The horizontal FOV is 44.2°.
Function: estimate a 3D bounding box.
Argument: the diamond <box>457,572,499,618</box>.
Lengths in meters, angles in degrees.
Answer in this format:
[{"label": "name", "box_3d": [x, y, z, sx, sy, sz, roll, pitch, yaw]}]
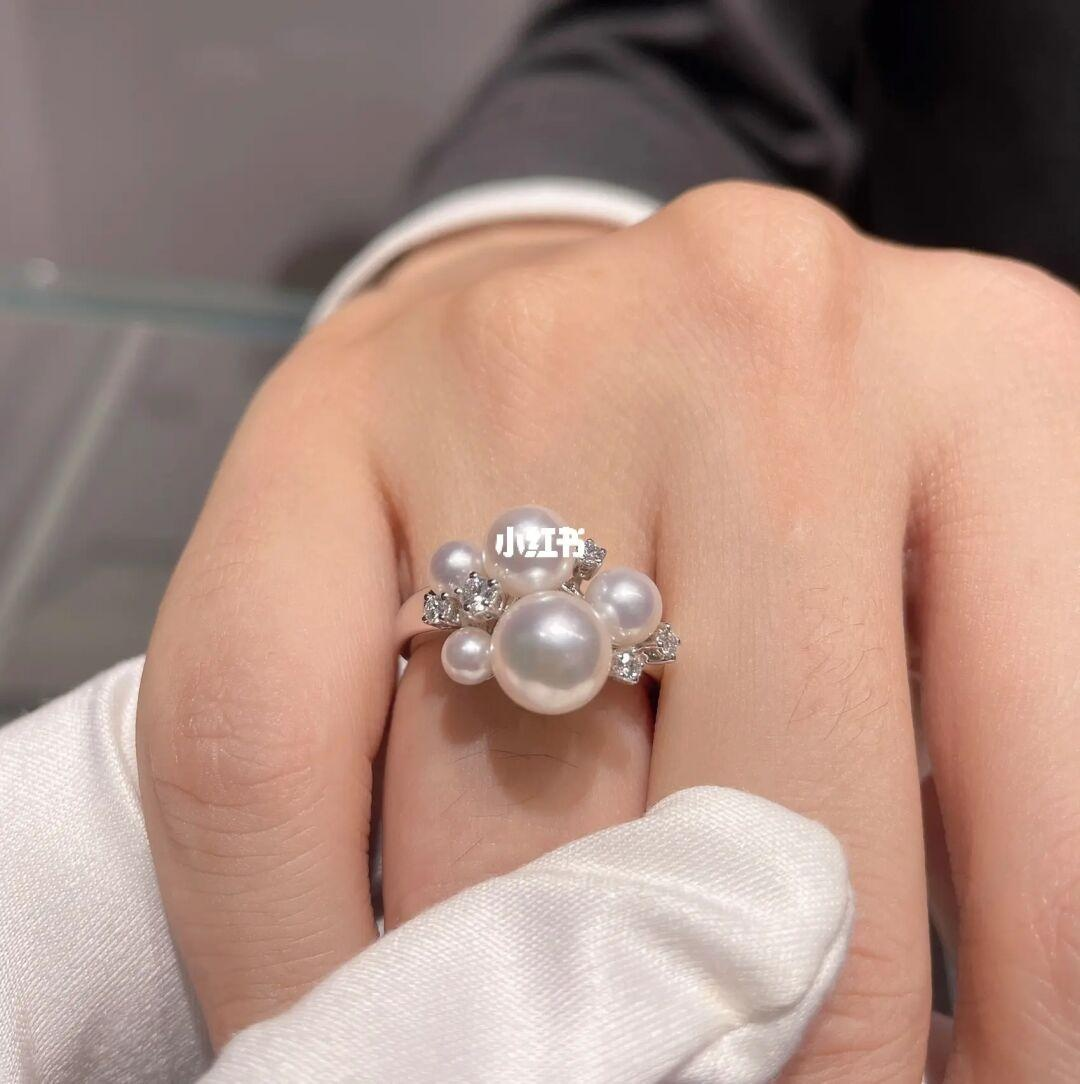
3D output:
[{"label": "diamond", "box_3d": [-0.034, 0.035, 0.910, 0.026, 0.031, 0.022, 30, 92, 9]}]

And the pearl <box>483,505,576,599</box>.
[{"label": "pearl", "box_3d": [-0.009, 0.005, 0.902, 0.071, 0.034, 0.054, 0, 82, 5]}]

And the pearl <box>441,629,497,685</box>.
[{"label": "pearl", "box_3d": [-0.048, 0.077, 0.904, 0.044, 0.022, 0.034, -1, 83, 19]}]

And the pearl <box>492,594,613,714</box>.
[{"label": "pearl", "box_3d": [0.031, 0.071, 0.868, 0.096, 0.080, 0.083, 0, 87, 6]}]

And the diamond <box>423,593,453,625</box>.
[{"label": "diamond", "box_3d": [-0.070, 0.046, 0.922, 0.026, 0.020, 0.020, 1, 83, 8]}]

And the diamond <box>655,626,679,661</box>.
[{"label": "diamond", "box_3d": [0.089, 0.067, 0.904, 0.022, 0.007, 0.022, -1, 83, 0]}]

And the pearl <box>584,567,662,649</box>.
[{"label": "pearl", "box_3d": [0.056, 0.045, 0.898, 0.061, 0.042, 0.048, 5, 87, 2]}]

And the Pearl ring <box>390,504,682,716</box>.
[{"label": "Pearl ring", "box_3d": [0.009, 0.051, 0.950, 0.173, 0.185, 0.071, -8, 112, 1]}]

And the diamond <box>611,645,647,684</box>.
[{"label": "diamond", "box_3d": [0.060, 0.083, 0.903, 0.028, 0.023, 0.022, 6, 69, 5]}]

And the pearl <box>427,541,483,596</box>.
[{"label": "pearl", "box_3d": [-0.059, 0.016, 0.928, 0.042, 0.037, 0.037, 1, 88, 8]}]
